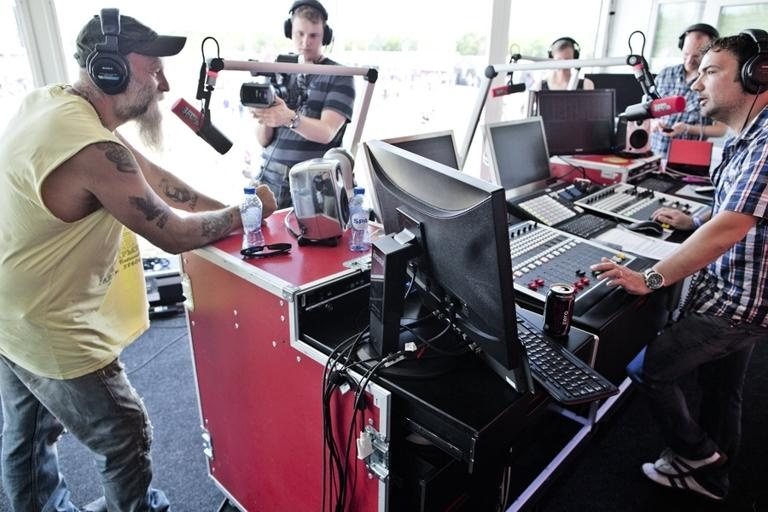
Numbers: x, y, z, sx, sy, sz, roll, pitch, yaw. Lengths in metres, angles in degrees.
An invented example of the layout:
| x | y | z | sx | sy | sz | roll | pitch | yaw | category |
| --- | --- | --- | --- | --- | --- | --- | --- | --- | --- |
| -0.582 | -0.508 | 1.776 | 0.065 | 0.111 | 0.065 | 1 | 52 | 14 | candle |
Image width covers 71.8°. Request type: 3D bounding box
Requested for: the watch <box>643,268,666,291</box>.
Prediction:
| x | y | z | sx | sy | sz | roll | pitch | yaw | category |
| --- | --- | --- | --- | --- | --- | --- | --- | --- | --- |
| 1.119 | 0.099 | 2.200 | 0.075 | 0.086 | 0.089 | -18 | 8 | 20 | watch |

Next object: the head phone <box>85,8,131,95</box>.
| x | y | z | sx | sy | sz | roll | pitch | yaw | category |
| --- | --- | --- | --- | --- | --- | --- | --- | --- | --- |
| -1.016 | -0.742 | 1.946 | 0.117 | 0.226 | 0.255 | -5 | 26 | -15 | head phone |

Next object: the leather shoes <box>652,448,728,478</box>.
| x | y | z | sx | sy | sz | roll | pitch | yaw | category |
| --- | --- | --- | --- | --- | --- | --- | --- | --- | --- |
| 1.452 | 0.998 | 2.561 | 0.334 | 0.137 | 0.119 | -9 | 31 | 30 | leather shoes |

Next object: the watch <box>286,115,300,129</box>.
| x | y | z | sx | sy | sz | roll | pitch | yaw | category |
| --- | --- | --- | --- | --- | --- | --- | --- | --- | --- |
| -0.437 | -0.639 | 2.518 | 0.057 | 0.035 | 0.071 | -34 | -8 | -43 | watch |

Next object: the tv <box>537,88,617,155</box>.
| x | y | z | sx | sy | sz | roll | pitch | yaw | category |
| --- | --- | --- | --- | --- | --- | --- | --- | --- | --- |
| 1.244 | -0.871 | 3.451 | 0.473 | 0.365 | 0.262 | -10 | 18 | -19 | tv |

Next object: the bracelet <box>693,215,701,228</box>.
| x | y | z | sx | sy | sz | roll | pitch | yaw | category |
| --- | --- | --- | --- | --- | --- | --- | --- | --- | --- |
| 1.684 | -0.184 | 2.843 | 0.024 | 0.063 | 0.065 | -14 | 6 | 11 | bracelet |

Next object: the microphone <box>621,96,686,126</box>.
| x | y | z | sx | sy | sz | roll | pitch | yaw | category |
| --- | --- | --- | --- | --- | --- | --- | --- | --- | --- |
| 1.428 | -0.761 | 2.870 | 0.136 | 0.110 | 0.377 | 13 | 4 | -26 | microphone |

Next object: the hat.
| x | y | z | sx | sy | sz | roll | pitch | yaw | category |
| --- | --- | --- | --- | --- | --- | --- | --- | --- | --- |
| -0.929 | -0.800 | 1.983 | 0.334 | 0.151 | 0.206 | -21 | 30 | -12 | hat |

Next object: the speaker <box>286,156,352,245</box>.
| x | y | z | sx | sy | sz | roll | pitch | yaw | category |
| --- | --- | --- | --- | --- | --- | --- | --- | --- | --- |
| -0.231 | -0.268 | 2.424 | 0.341 | 0.468 | 0.364 | -4 | 30 | -3 | speaker |

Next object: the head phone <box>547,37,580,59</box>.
| x | y | z | sx | sy | sz | roll | pitch | yaw | category |
| --- | --- | --- | --- | --- | --- | --- | --- | --- | --- |
| 1.411 | -1.610 | 4.137 | 0.222 | 0.198 | 0.228 | 4 | 45 | 16 | head phone |

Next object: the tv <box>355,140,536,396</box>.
| x | y | z | sx | sy | sz | roll | pitch | yaw | category |
| --- | --- | --- | --- | --- | --- | --- | --- | --- | --- |
| 0.197 | 0.074 | 1.901 | 0.262 | 0.727 | 0.868 | -23 | 35 | -18 | tv |

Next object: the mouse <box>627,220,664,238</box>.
| x | y | z | sx | sy | sz | roll | pitch | yaw | category |
| --- | --- | --- | --- | --- | --- | --- | --- | --- | --- |
| 1.388 | -0.155 | 2.798 | 0.139 | 0.042 | 0.095 | 16 | 27 | 33 | mouse |
